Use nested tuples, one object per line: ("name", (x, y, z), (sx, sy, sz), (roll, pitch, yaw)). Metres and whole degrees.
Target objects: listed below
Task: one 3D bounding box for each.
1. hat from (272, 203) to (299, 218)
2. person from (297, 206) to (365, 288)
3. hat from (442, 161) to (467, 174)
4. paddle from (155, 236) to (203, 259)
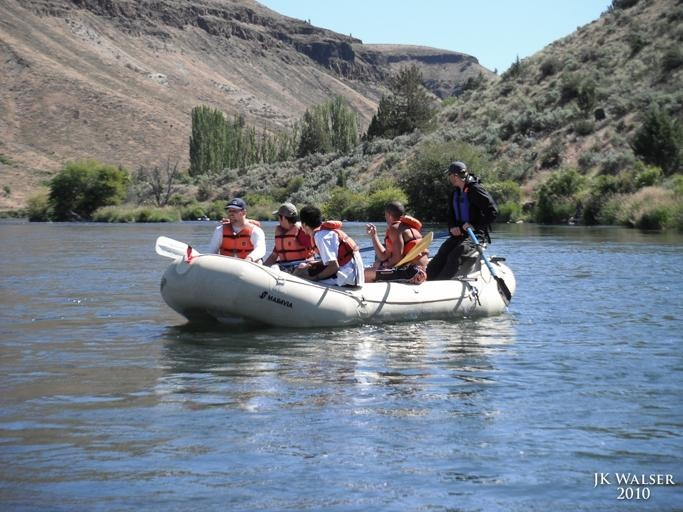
("hat", (-0.931, -0.775, 14.304), (0.387, 0.155, 0.250), (5, 2, 14))
("person", (-0.160, -0.148, 13.923), (1.057, 1.361, 0.671), (1, 11, -2))
("hat", (2.036, -1.593, 15.418), (0.326, 0.200, 0.535), (2, 9, 3))
("paddle", (-2.532, -0.092, 14.370), (0.237, 0.271, 0.970), (2, -12, 43))
